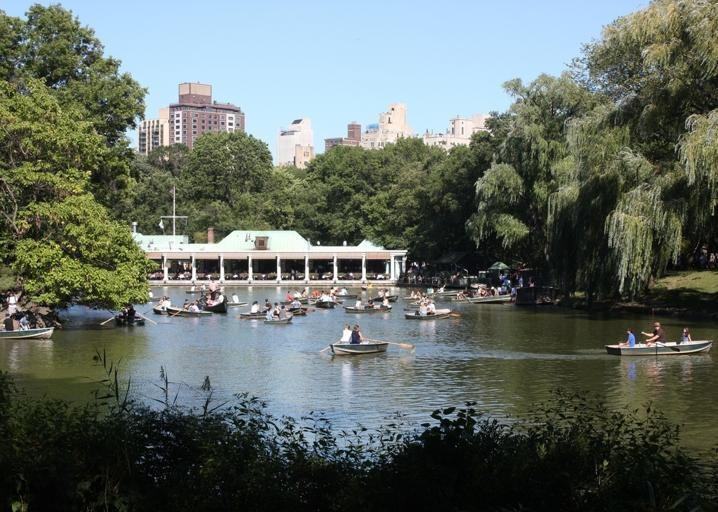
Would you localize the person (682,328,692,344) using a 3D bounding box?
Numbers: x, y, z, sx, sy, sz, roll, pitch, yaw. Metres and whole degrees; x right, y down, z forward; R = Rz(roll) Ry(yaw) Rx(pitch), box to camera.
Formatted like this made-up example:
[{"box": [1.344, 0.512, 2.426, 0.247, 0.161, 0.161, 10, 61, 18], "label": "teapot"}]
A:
[{"box": [15.855, 3.868, 44.701, 0.552, 1.105, 0.278, 2, 22, 19], "label": "person"}]

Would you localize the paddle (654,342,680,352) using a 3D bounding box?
[{"box": [14.270, 4.208, 42.909, 0.920, 0.189, 0.534, -2, -1, -19], "label": "paddle"}]

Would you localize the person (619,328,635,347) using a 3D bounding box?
[{"box": [13.405, 4.078, 46.236, 0.711, 1.311, 0.658, 9, 4, 33], "label": "person"}]
